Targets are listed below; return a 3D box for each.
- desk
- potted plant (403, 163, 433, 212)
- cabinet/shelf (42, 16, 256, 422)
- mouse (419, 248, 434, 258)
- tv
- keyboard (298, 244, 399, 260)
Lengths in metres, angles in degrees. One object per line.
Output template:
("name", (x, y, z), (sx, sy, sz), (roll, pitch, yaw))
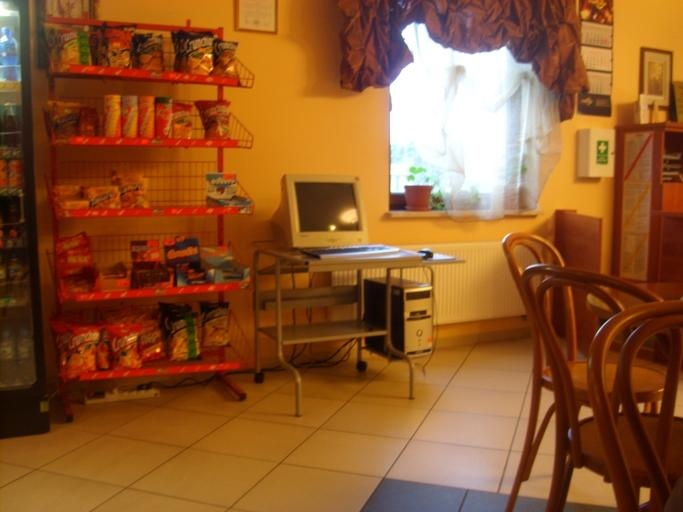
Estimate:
("desk", (0.151, 0.447, 3.851), (1.352, 0.961, 0.785), (-1, 4, -30))
("potted plant", (0.638, -0.553, 4.621), (0.261, 0.360, 0.276), (-1, 10, -7))
("cabinet/shelf", (-1.209, -0.262, 3.509), (1.173, 2.305, 0.760), (-4, 10, -20))
("mouse", (0.561, 0.000, 3.737), (0.084, 0.059, 0.349), (2, 10, 10))
("tv", (-0.177, -0.270, 3.913), (0.590, 0.531, 0.494), (-1, 0, -24))
("keyboard", (0.055, -0.031, 3.579), (0.635, 0.031, 0.376), (-4, 11, -25))
